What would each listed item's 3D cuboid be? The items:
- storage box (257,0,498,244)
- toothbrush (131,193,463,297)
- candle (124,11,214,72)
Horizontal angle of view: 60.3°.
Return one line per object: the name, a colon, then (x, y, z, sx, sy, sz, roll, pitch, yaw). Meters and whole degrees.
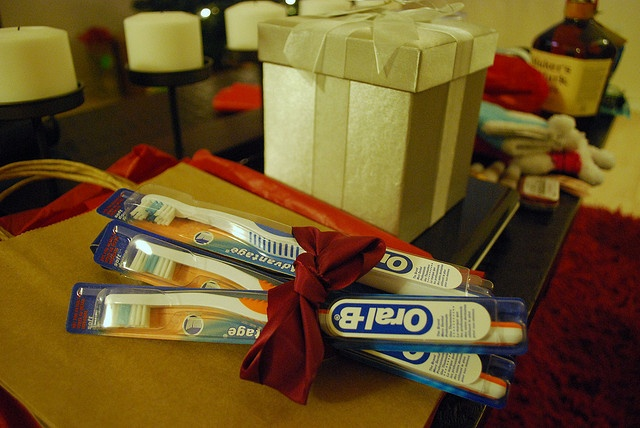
storage box: (0.080, -0.144, 0.994, 0.390, 0.390, 0.333, 22, 34, 34)
toothbrush: (-0.043, 0.043, 0.724, 0.295, 0.027, 0.060, 14, 13, 6)
candle: (-0.245, -0.274, 0.879, 0.101, 0.076, 0.104, -5, 25, -10)
